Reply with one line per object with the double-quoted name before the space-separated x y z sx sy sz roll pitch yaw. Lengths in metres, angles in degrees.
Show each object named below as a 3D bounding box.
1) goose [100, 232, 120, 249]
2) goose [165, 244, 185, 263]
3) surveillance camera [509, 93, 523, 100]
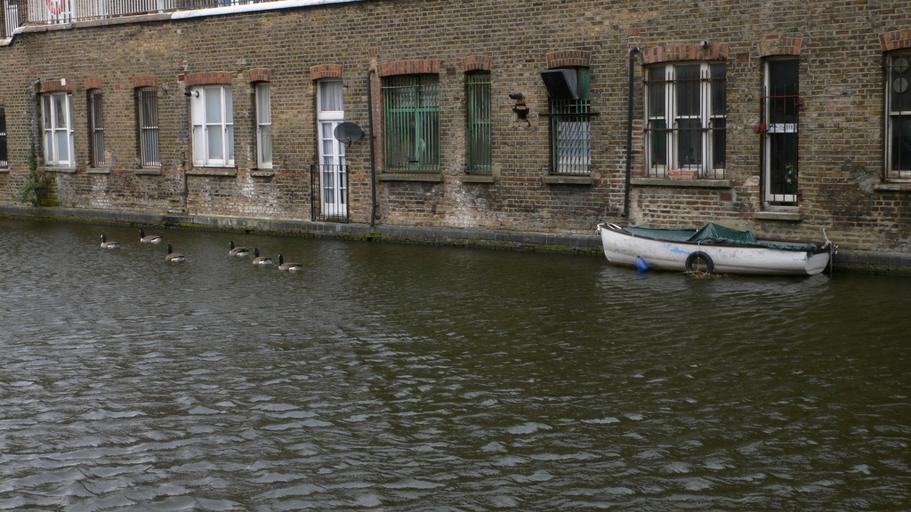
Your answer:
"goose" -9.090 -0.377 31.421 0.808 0.378 0.403 4 4 -3
"goose" -6.898 -0.039 29.551 0.419 0.369 0.703 -6 12 -43
"surveillance camera" 1.502 -4.076 30.358 0.354 0.185 0.224 1 5 18
